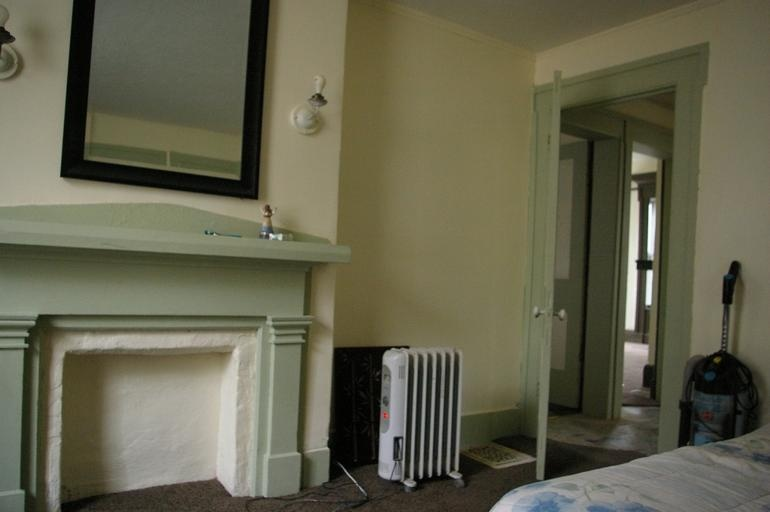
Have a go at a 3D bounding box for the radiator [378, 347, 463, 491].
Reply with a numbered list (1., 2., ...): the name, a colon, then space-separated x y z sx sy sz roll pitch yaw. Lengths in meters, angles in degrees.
1. radiator: 0.223 1.098 4.464 0.597 0.846 0.533 2 -5 -18

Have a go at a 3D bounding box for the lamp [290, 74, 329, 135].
1. lamp: -0.476 -0.952 4.091 0.242 0.335 0.233 0 -6 -6

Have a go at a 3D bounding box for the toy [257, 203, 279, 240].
1. toy: -0.715 -0.213 3.988 0.087 0.240 0.160 0 -6 -11
